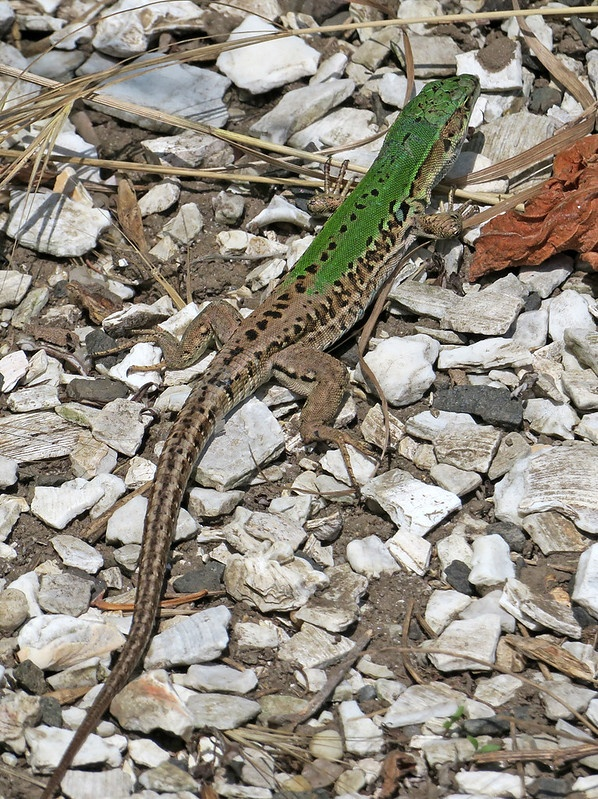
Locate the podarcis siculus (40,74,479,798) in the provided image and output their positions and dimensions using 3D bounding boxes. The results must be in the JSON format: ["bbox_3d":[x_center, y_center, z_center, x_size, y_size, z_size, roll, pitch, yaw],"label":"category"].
[{"bbox_3d":[0.046,-0.376,4.393,1.039,0.540,3.923,21,58,16],"label":"podarcis siculus"}]
